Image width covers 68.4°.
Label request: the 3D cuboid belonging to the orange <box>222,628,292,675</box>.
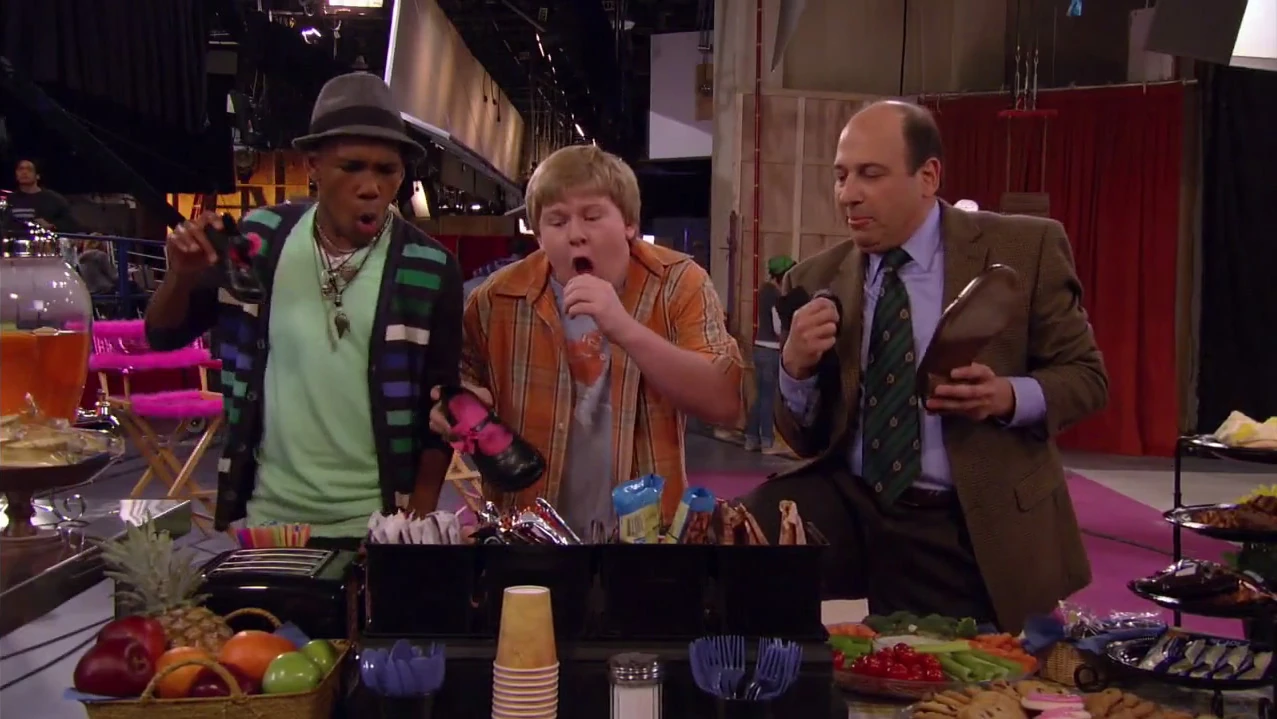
[{"bbox_3d":[-1.226,0.933,2.962,0.188,0.143,0.139,-4,-5,-30],"label":"orange"}]

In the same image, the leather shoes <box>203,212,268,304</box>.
[{"bbox_3d":[-1.480,-0.357,3.528,0.192,0.330,0.147,-24,12,-35],"label":"leather shoes"}]

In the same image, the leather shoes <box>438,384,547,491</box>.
[{"bbox_3d":[-0.528,0.291,3.349,0.177,0.170,0.490,-42,43,-22],"label":"leather shoes"}]

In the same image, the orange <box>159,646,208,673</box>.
[{"bbox_3d":[-1.390,0.901,2.854,0.088,0.087,0.089,-1,-16,-15],"label":"orange"}]

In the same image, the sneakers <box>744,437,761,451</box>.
[{"bbox_3d":[1.284,0.963,10.649,0.141,0.140,0.144,2,-1,7],"label":"sneakers"}]

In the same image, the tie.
[{"bbox_3d":[1.039,0.033,3.886,0.259,1.101,0.051,1,0,-4],"label":"tie"}]

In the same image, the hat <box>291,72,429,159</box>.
[{"bbox_3d":[-1.176,-0.978,3.877,0.520,0.331,0.607,-9,0,-23],"label":"hat"}]

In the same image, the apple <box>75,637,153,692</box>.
[{"bbox_3d":[-1.598,0.923,2.906,0.228,0.176,0.175,1,-7,-9],"label":"apple"}]

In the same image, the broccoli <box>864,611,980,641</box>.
[{"bbox_3d":[1.032,0.970,3.426,0.243,0.065,0.159,4,-6,-2],"label":"broccoli"}]

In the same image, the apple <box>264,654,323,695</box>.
[{"bbox_3d":[-1.062,0.952,2.876,0.146,0.126,0.123,2,-16,-14],"label":"apple"}]

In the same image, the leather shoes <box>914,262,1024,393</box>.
[{"bbox_3d":[1.257,-0.127,3.552,0.299,0.549,0.146,36,6,-27],"label":"leather shoes"}]

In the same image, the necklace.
[{"bbox_3d":[-1.212,-0.342,3.957,0.299,0.531,0.269,6,-13,-2],"label":"necklace"}]

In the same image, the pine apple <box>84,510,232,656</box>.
[{"bbox_3d":[-1.600,0.747,3.096,0.180,0.182,0.369,-23,45,-36],"label":"pine apple"}]
